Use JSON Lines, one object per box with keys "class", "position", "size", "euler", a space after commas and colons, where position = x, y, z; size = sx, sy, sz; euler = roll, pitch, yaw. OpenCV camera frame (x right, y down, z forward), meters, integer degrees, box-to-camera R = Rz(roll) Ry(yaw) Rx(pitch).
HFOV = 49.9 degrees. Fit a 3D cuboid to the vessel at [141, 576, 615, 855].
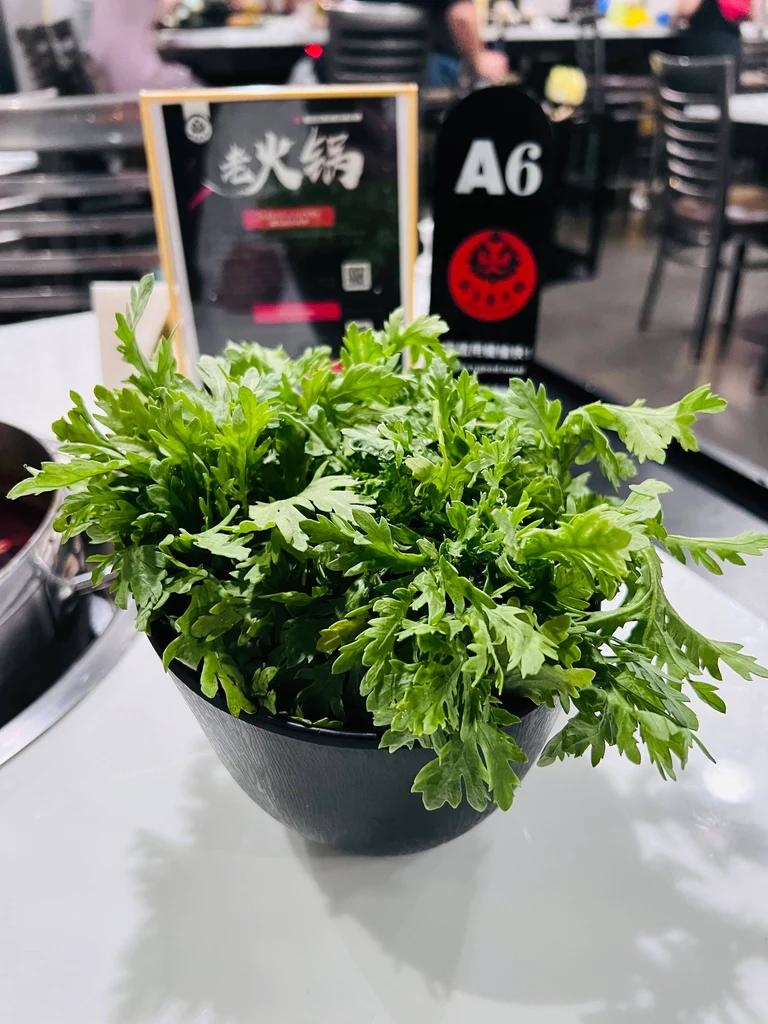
{"class": "vessel", "position": [-0.027, 0.078, 0.445], "size": [0.162, 0.095, 0.158], "euler": [0, 1, -7]}
